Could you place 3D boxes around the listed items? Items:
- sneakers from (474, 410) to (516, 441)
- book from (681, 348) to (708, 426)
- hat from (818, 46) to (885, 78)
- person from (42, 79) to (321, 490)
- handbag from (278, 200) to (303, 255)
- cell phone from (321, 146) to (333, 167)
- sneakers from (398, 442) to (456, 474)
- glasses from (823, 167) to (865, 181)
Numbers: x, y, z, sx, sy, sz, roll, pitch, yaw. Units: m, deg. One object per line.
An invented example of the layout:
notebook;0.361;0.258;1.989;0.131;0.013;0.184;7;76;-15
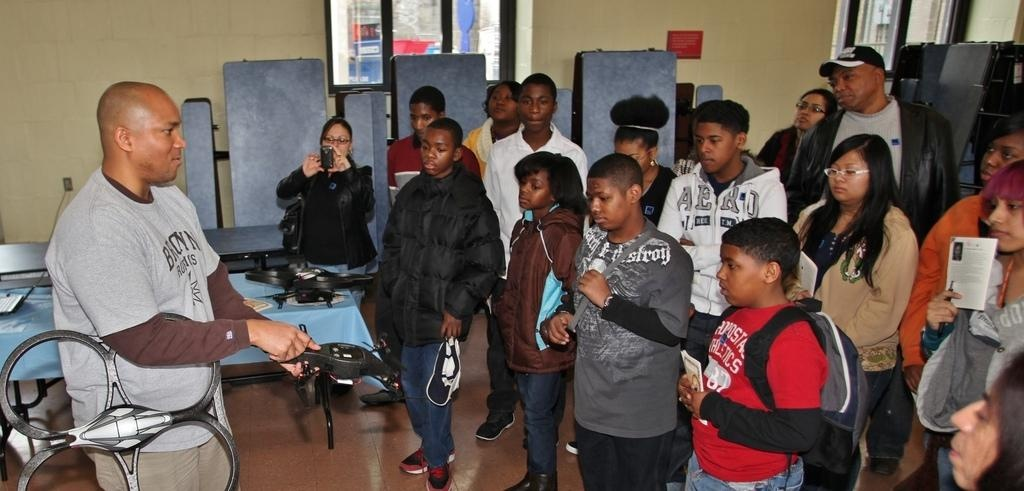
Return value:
sneakers;-0.150;1.598;6.090;0.462;0.179;0.166;-10;19;-40
book;1.223;0.998;4.604;0.066;0.487;0.319;-13;-20;29
hat;2.958;-1.657;5.865;0.522;0.212;0.315;12;1;2
person;-2.301;0.326;4.408;1.383;2.776;0.658;-4;12;-14
handbag;-2.120;-0.184;6.485;0.231;0.412;0.364;8;0;-7
cell phone;-1.784;-0.851;6.473;0.124;0.211;0.057;-3;12;-6
sneakers;-0.712;1.815;5.812;0.570;0.199;0.185;-1;15;-18
glasses;2.533;-0.549;5.083;0.288;0.074;0.080;2;10;17
